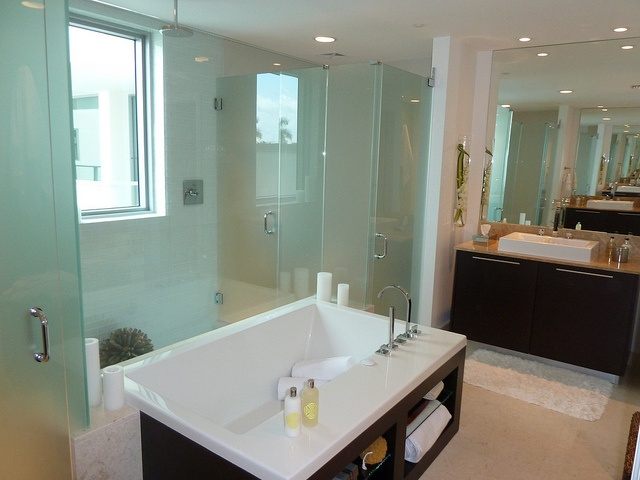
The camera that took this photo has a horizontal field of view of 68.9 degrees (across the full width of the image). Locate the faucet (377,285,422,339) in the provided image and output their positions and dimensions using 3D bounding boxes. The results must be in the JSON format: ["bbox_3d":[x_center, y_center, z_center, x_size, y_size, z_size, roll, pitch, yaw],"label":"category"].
[{"bbox_3d":[0.535,0.466,3.056,0.271,0.353,0.248,14,18,42],"label":"faucet"}]

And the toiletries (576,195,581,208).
[{"bbox_3d":[2.465,-0.368,4.448,0.038,0.104,0.030,2,15,13],"label":"toiletries"}]

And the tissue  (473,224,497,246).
[{"bbox_3d":[1.661,-0.068,4.690,0.171,0.220,0.318,6,16,30],"label":"tissue "}]

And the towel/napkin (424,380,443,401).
[{"bbox_3d":[0.692,0.915,2.815,0.128,0.036,0.133,-2,0,37],"label":"towel/napkin"}]

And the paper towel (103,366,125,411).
[{"bbox_3d":[-1.046,0.757,2.365,0.088,0.198,0.103,8,17,34],"label":"paper towel"}]

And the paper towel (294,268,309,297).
[{"bbox_3d":[-0.160,0.379,4.097,0.149,0.279,0.030,-9,16,-26],"label":"paper towel"}]

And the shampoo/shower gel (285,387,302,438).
[{"bbox_3d":[-0.127,0.771,2.128,0.084,0.225,0.102,2,15,15],"label":"shampoo/shower gel"}]

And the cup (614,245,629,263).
[{"bbox_3d":[2.563,0.134,4.007,0.099,0.144,0.141,4,7,42],"label":"cup"}]

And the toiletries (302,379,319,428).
[{"bbox_3d":[-0.045,0.750,2.217,0.074,0.217,0.154,-1,14,2],"label":"toiletries"}]
